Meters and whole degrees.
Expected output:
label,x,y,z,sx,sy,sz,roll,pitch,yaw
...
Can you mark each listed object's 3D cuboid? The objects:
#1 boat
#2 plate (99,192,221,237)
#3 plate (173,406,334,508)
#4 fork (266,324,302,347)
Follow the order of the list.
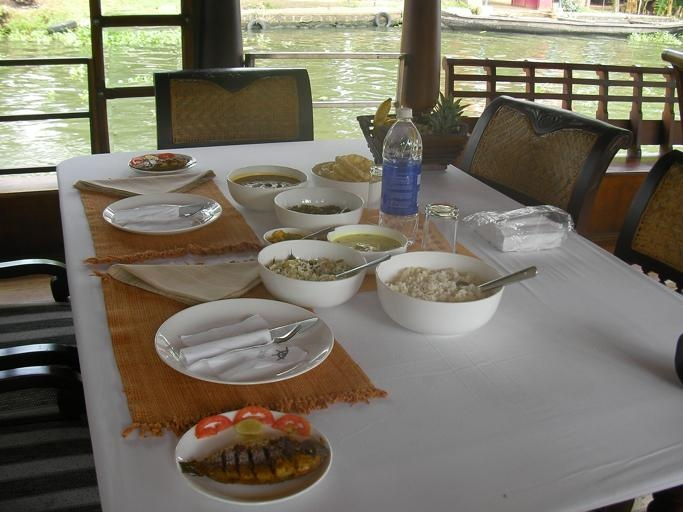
label,x,y,z,sx,sy,sz,roll,pitch,yaw
boat,8.850,-10.073,20.473,8.272,1.454,2.814,16,26,38
plate,-0.467,-0.114,1.289,0.196,0.024,0.187,-14,33,-37
plate,-0.107,0.244,0.591,0.156,0.038,0.156,-17,26,-39
fork,-0.097,0.134,0.807,0.032,0.012,0.040,2,15,15
